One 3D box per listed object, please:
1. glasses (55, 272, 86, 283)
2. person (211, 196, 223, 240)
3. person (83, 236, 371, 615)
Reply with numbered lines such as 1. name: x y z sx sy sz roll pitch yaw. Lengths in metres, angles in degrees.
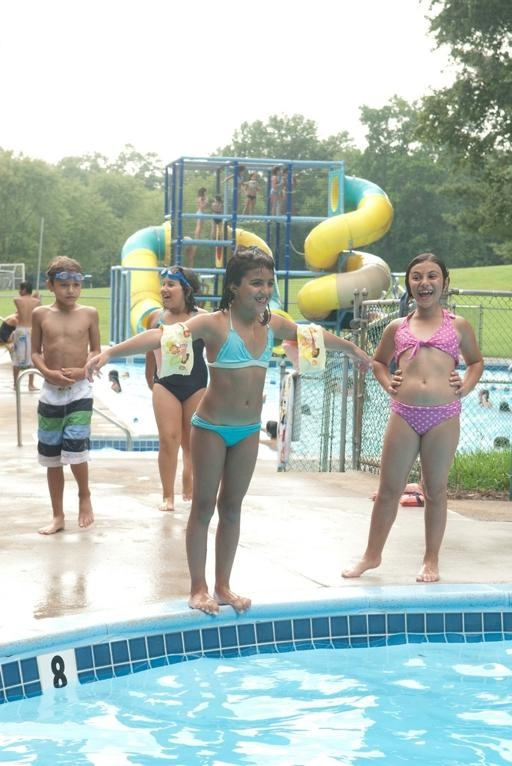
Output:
1. glasses: -1.072 -0.617 4.733 0.109 0.059 0.231 7 7 31
2. person: -1.093 -4.661 22.702 0.312 1.295 0.977 4 6 -4
3. person: -0.187 0.195 3.253 0.694 1.481 0.268 2 7 -20
